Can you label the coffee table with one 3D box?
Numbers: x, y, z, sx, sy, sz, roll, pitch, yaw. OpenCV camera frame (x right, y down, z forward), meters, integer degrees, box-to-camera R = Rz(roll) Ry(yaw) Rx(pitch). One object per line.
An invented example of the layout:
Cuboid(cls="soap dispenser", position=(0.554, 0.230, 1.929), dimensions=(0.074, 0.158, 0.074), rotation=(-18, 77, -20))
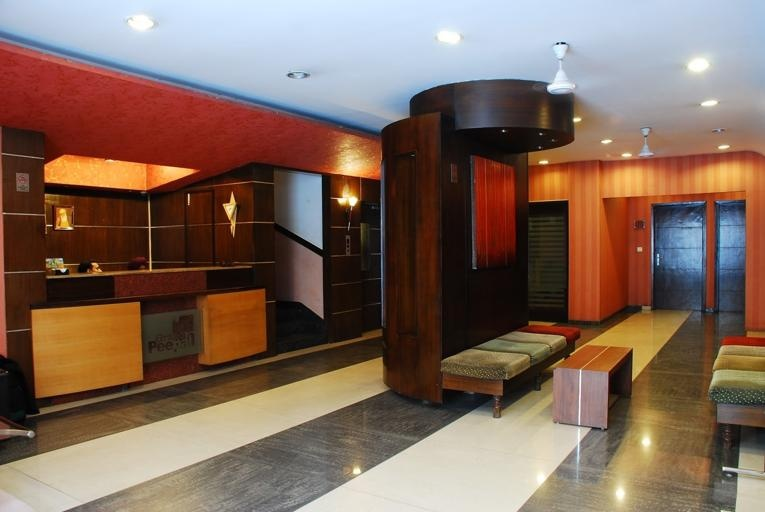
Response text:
Cuboid(cls="coffee table", position=(2.398, 1.158, 6.309), dimensions=(0.686, 0.678, 1.477), rotation=(0, 1, 28))
